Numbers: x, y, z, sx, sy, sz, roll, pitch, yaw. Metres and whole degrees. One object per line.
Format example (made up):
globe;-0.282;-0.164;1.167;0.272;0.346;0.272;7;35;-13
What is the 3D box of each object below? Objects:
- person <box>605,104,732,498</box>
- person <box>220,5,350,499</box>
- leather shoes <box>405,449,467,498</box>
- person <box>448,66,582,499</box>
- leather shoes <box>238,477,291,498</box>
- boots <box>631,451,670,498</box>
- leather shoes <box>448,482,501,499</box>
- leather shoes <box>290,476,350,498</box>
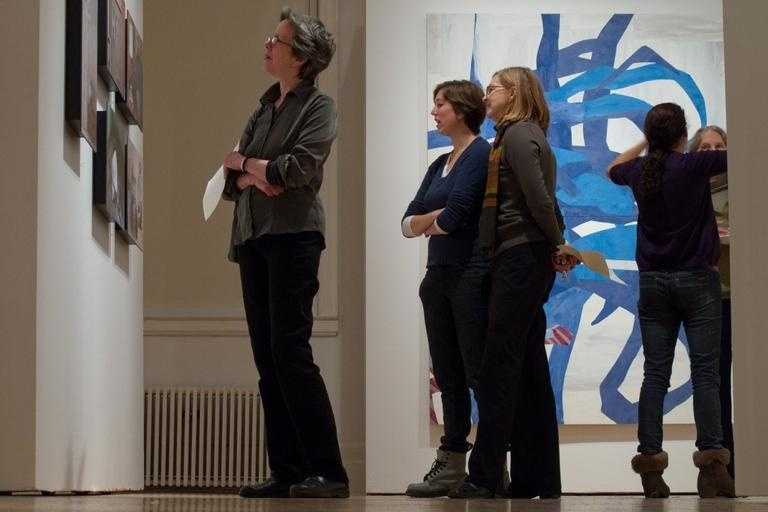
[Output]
person;1.441;0.194;5.224;0.560;1.926;0.350;-5;-10;14
person;-0.451;-0.029;4.749;0.522;2.163;0.330;-11;-13;41
leather shoes;0.269;1.008;4.916;0.351;0.255;0.136;1;-8;9
person;0.575;0.089;4.820;0.606;1.979;0.450;-4;-10;10
leather shoes;-0.510;1.007;4.658;0.236;0.095;0.086;7;-12;-17
boots;1.282;1.042;5.107;0.151;0.213;0.198;-7;-10;22
leather shoes;0.386;0.999;4.563;0.220;0.094;0.082;7;-13;-8
leather shoes;-0.269;0.963;4.440;0.248;0.090;0.237;-2;-10;-4
